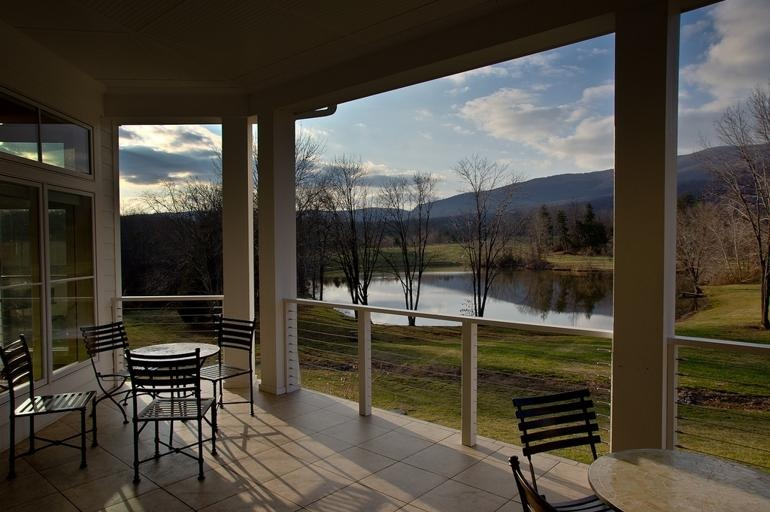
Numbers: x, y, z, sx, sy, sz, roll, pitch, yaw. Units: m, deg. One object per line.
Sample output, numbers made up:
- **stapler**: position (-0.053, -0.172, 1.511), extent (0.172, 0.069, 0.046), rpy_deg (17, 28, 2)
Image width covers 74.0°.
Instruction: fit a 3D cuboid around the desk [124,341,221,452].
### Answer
- **desk**: position (-2.240, 1.427, 5.388), extent (0.802, 1.278, 1.620), rpy_deg (-6, 13, -23)
